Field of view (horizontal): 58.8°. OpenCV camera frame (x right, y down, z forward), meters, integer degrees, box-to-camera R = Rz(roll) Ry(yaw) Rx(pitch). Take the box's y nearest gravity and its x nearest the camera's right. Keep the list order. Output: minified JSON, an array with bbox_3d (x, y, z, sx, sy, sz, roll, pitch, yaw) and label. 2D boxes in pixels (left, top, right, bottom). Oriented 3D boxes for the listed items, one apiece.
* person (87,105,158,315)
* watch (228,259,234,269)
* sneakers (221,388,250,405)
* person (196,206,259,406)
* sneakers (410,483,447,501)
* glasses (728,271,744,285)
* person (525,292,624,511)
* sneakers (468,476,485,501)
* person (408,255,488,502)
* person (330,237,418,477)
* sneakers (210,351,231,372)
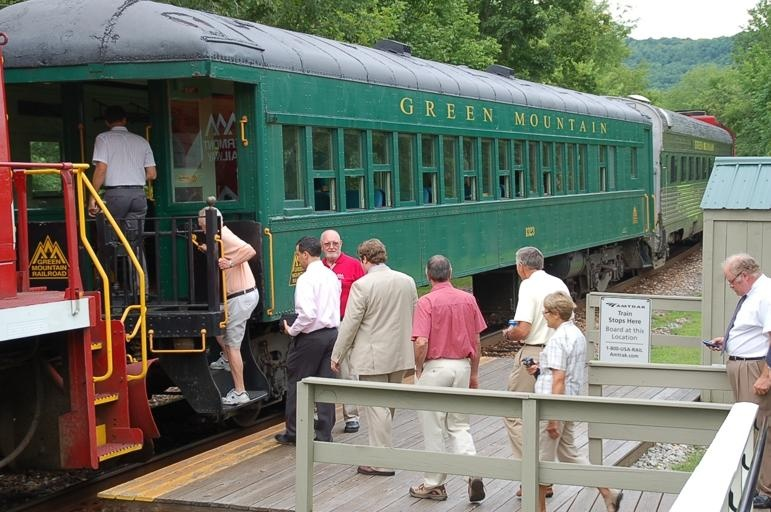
[{"bbox_3d":[-2.881,-0.570,7.488,0.671,2.158,1.020,-3,7,-14],"label":"person"},{"bbox_3d":[-1.622,0.079,7.190,0.063,0.082,0.080,-1,7,6],"label":"watch"},{"bbox_3d":[-1.594,1.512,7.302,0.302,0.150,0.113,2,-4,-19],"label":"sneakers"},{"bbox_3d":[-1.644,0.531,7.346,0.579,2.088,0.409,-5,8,-26],"label":"person"},{"bbox_3d":[0.375,2.017,5.841,0.335,0.156,0.125,4,3,18],"label":"sneakers"},{"bbox_3d":[2.937,0.192,5.792,0.084,0.111,0.157,-2,7,-4],"label":"glasses"},{"bbox_3d":[1.493,1.220,5.521,0.792,1.817,0.824,1,7,19],"label":"person"},{"bbox_3d":[0.765,1.963,5.758,0.093,0.242,0.103,-1,48,1],"label":"sneakers"},{"bbox_3d":[0.541,1.050,6.033,0.649,2.021,0.997,-1,7,8],"label":"person"},{"bbox_3d":[-0.109,0.535,6.475,0.798,1.351,0.383,-1,7,2],"label":"person"},{"bbox_3d":[-1.746,1.173,7.522,0.309,0.216,0.117,3,-3,8],"label":"sneakers"}]
